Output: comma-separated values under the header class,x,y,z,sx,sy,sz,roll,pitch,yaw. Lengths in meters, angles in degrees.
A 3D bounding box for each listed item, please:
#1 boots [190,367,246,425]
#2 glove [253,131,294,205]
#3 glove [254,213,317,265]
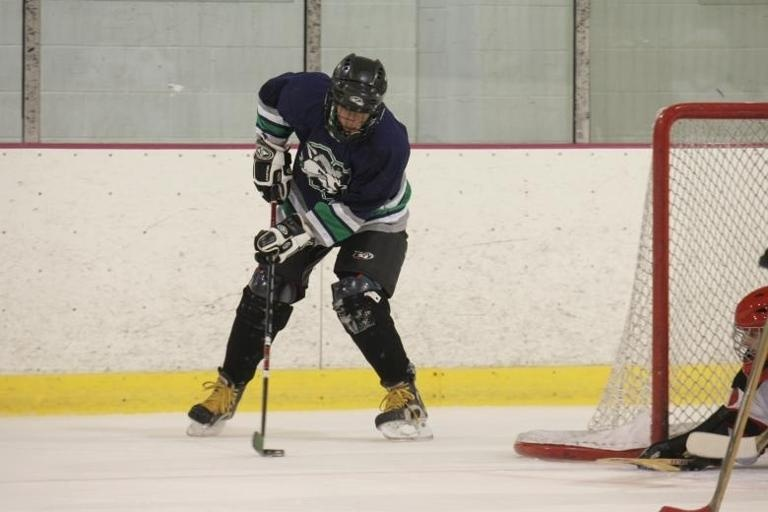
class,x,y,z,sx,sy,sz,roll,pitch,yaw
boots,-0.785,0.707,6.333,0.158,0.170,0.384,36,33,6
glove,-0.527,-0.410,6.388,0.231,0.291,0.136,0,14,4
glove,-0.468,-0.069,6.272,0.270,0.111,0.202,-25,50,-2
